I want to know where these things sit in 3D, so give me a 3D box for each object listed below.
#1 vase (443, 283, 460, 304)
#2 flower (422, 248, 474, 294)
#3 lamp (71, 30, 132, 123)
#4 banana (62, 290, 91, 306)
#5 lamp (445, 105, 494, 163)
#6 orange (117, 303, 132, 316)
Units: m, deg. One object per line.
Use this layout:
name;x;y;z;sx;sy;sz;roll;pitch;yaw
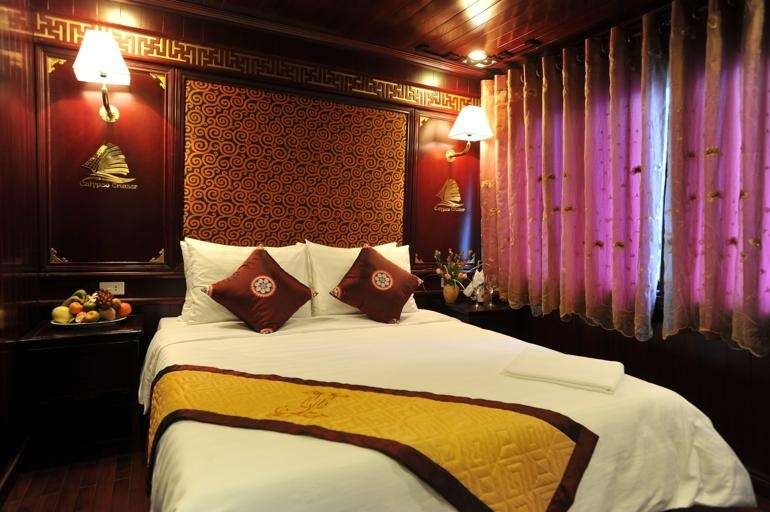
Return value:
vase;0.647;0.367;4.814;0.168;0.178;0.172;1;-4;1
flower;0.647;0.151;4.976;0.430;0.474;0.434;8;-12;-30
lamp;-2.042;-1.292;3.533;0.339;0.546;0.365;-2;-4;42
banana;-2.254;0.325;3.564;0.110;0.057;0.190;22;6;-5
lamp;0.788;-1.178;4.721;0.350;0.460;0.465;0;2;-30
orange;-1.932;0.400;3.636;0.090;0.111;0.092;-4;-13;31
